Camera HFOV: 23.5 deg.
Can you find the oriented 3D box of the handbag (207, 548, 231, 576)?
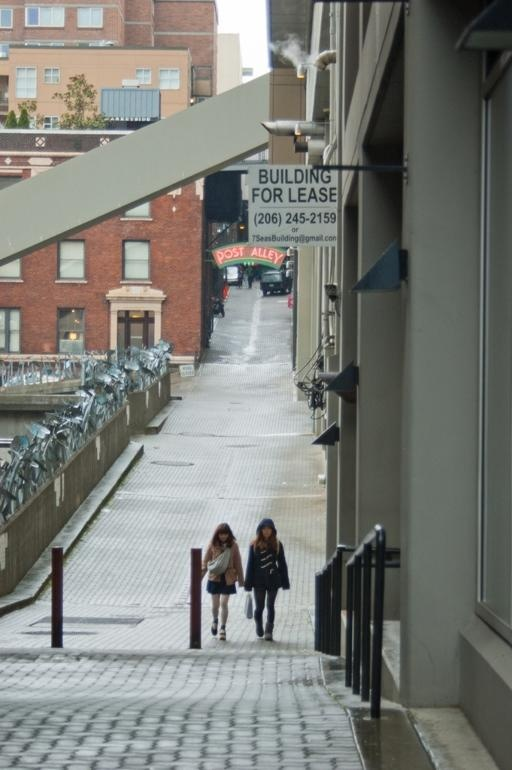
[{"bbox_3d":[-0.344,1.698,11.519,0.166,0.286,0.101,-15,-34,38],"label":"handbag"}]

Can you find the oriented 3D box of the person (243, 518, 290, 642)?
[{"bbox_3d":[0.126,1.846,11.481,0.378,1.049,0.615,-1,5,-28],"label":"person"}]

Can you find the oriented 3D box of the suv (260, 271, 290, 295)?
[{"bbox_3d":[1.053,-5.638,69.853,1.243,1.463,1.993,4,6,33],"label":"suv"}]

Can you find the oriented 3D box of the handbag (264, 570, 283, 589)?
[{"bbox_3d":[0.157,1.851,11.495,0.148,0.267,0.128,1,-11,-9],"label":"handbag"}]
